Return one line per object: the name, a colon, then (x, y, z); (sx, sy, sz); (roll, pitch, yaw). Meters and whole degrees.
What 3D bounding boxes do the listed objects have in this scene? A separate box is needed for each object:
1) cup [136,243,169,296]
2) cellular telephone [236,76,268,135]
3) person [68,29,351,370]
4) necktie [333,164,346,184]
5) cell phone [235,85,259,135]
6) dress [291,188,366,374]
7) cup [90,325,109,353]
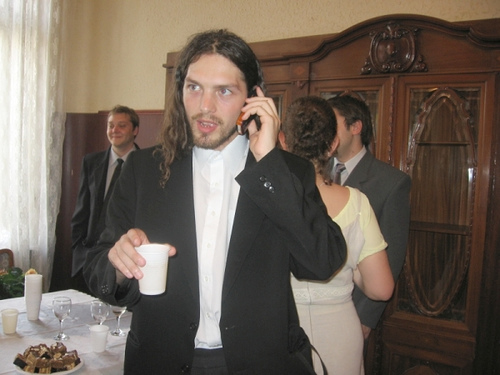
cup: (-0.357, 0.294, 1.438); (0.108, 0.181, 0.134); (-1, 4, -23)
cellular telephone: (0.001, -0.334, 1.624); (0.067, 0.280, 0.054); (34, -5, -34)
person: (-0.149, 0.029, 1.597); (0.957, 1.350, 0.502); (-1, 4, -18)
necktie: (0.711, -0.112, 3.183); (0.032, 0.158, 0.114); (-3, 5, -38)
cell phone: (-0.017, -0.319, 1.625); (0.045, 0.230, 0.057); (26, -23, 12)
dress: (0.443, 0.536, 2.167); (0.427, 1.051, 0.201); (0, 4, 0)
cup: (-0.825, 0.819, 2.180); (0.119, 0.133, 0.123); (1, -3, 0)
